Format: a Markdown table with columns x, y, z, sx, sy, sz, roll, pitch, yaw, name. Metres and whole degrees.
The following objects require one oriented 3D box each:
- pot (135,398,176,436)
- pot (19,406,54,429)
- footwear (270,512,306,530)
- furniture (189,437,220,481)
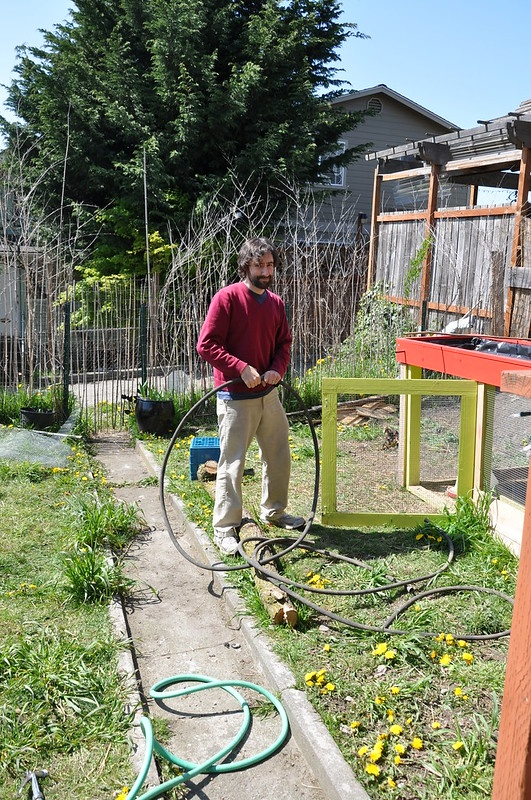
| x | y | z | sx | sy | sz | roll | pitch | yaw | name |
| --- | --- | --- | --- | --- | --- | --- | --- | --- | --- |
| -1.188 | 0.170 | 7.066 | 0.379 | 0.331 | 0.404 | 2 | -1 | 0 | pot |
| -2.286 | 0.186 | 6.819 | 0.342 | 0.246 | 0.348 | -9 | 11 | 2 | pot |
| 0.135 | 0.751 | 4.225 | 0.204 | 0.086 | 0.094 | 2 | 3 | 17 | footwear |
| -0.498 | 0.492 | 5.646 | 0.333 | 0.321 | 0.333 | 1 | 10 | 3 | furniture |
